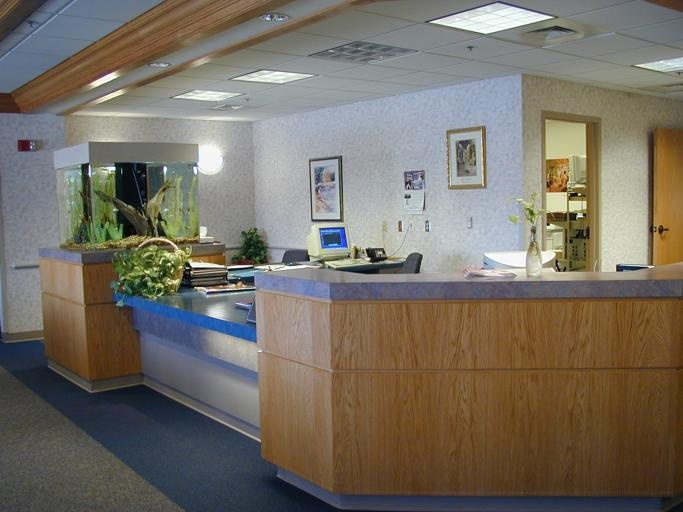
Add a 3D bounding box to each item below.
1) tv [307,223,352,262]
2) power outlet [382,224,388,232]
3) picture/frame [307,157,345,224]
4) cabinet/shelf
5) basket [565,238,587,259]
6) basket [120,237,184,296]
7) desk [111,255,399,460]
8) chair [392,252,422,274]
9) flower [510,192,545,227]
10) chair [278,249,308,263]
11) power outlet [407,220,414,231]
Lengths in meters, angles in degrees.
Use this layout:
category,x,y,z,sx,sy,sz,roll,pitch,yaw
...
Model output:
category,x,y,z,sx,sy,sz,roll,pitch,yaw
tv,-0.214,-0.196,7.343,0.589,0.485,0.540,-6,6,-43
power outlet,0.633,-0.419,7.697,0.017,0.120,0.100,-10,11,-38
picture/frame,-0.254,-1.067,8.424,0.177,1.038,0.747,-9,10,-35
cabinet/shelf,3.850,-0.494,8.960,0.651,1.387,3.085,1,8,22
basket,3.896,-0.126,8.723,0.085,0.339,0.329,-9,10,-36
basket,-1.801,0.107,5.091,0.776,0.559,0.754,1,-1,-42
desk,-0.741,0.654,4.749,1.475,0.828,1.837,-6,8,-42
chair,0.840,0.082,6.299,0.308,0.325,0.243,0,3,-33
flower,1.269,-0.280,3.488,0.202,0.156,0.175,10,-7,-30
chair,-0.693,0.040,7.451,0.233,0.234,0.284,-3,-6,13
power outlet,0.969,-0.418,7.347,0.020,0.133,0.101,-9,10,-34
